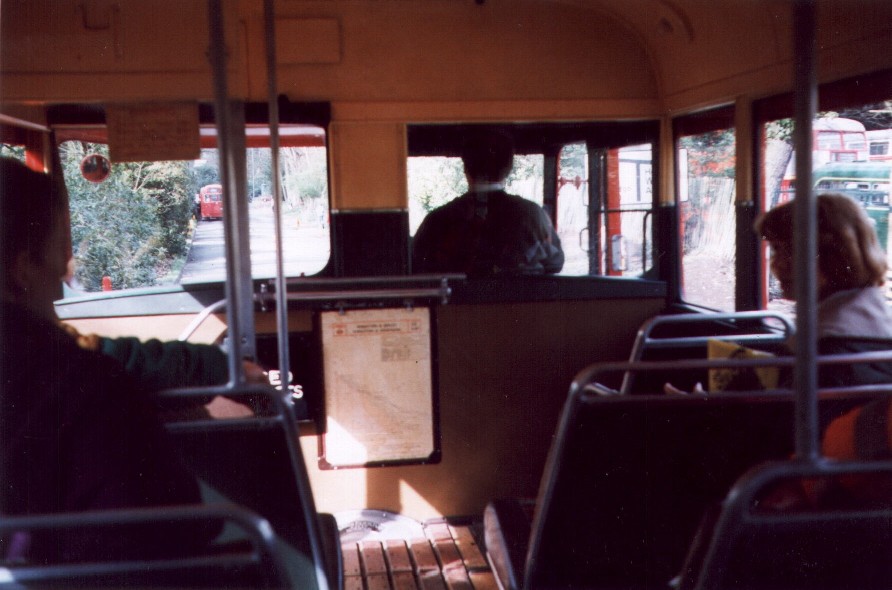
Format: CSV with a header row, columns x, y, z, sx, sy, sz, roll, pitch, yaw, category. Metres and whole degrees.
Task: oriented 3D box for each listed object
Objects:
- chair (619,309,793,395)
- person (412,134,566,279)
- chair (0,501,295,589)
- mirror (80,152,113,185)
x,y,z,sx,sy,sz,roll,pitch,yaw,category
1.518,0.319,4.385,0.422,0.352,0.321,-3,22,0,chair
0.284,-0.645,5.176,0.881,0.846,0.503,2,16,11,person
-0.960,0.820,2.457,0.885,0.359,0.287,-2,6,5,chair
-2.058,-0.740,4.500,0.158,0.182,0.046,11,-8,6,mirror
